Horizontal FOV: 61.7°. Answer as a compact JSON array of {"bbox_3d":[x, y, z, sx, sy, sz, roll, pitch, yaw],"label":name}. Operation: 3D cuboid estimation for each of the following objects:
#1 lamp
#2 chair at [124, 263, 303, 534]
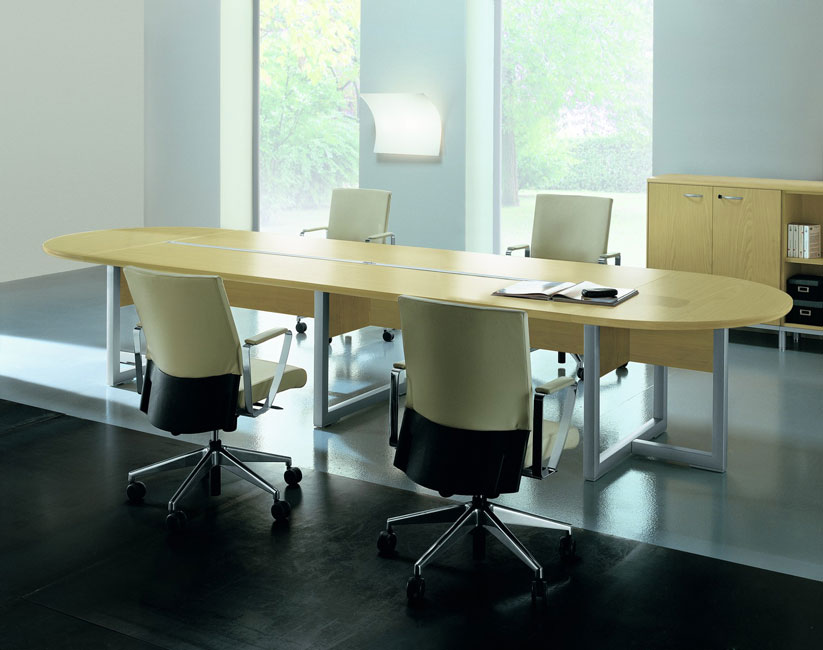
[{"bbox_3d":[-0.077,-2.089,7.197,0.805,0.694,0.330,5,9,26],"label":"lamp"},{"bbox_3d":[-0.903,0.266,3.108,0.761,1.067,0.764,2,7,-2],"label":"chair"}]
